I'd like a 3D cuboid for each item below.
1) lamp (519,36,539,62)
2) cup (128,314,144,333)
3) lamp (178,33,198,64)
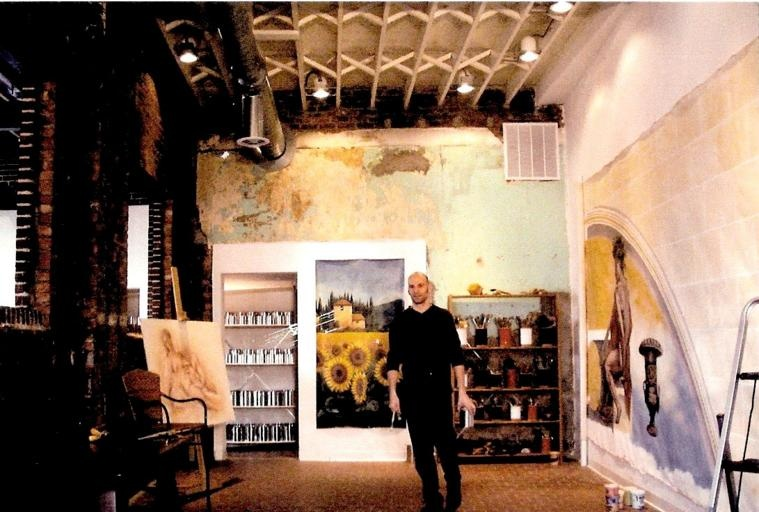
[{"bbox_3d":[1.790,-2.496,8.510,0.194,0.349,0.240,-4,-8,15],"label":"lamp"},{"bbox_3d":[-2.723,0.756,7.933,0.202,0.233,0.198,0,4,0],"label":"cup"},{"bbox_3d":[-2.172,-2.340,8.069,0.197,0.352,0.335,1,-8,-16],"label":"lamp"}]
